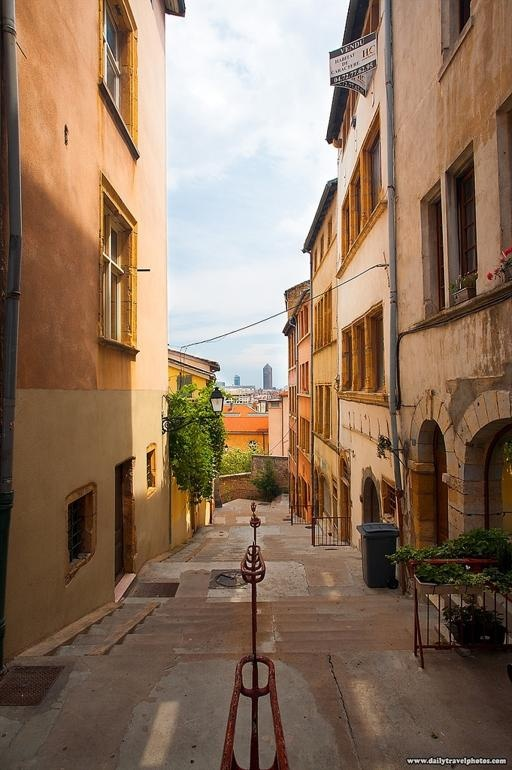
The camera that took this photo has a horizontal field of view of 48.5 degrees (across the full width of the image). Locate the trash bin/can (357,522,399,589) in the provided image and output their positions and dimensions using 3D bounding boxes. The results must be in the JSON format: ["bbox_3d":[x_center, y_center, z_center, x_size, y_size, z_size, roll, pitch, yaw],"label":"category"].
[{"bbox_3d":[1.654,2.326,7.680,0.523,0.862,0.552,-2,-6,16],"label":"trash bin/can"}]
